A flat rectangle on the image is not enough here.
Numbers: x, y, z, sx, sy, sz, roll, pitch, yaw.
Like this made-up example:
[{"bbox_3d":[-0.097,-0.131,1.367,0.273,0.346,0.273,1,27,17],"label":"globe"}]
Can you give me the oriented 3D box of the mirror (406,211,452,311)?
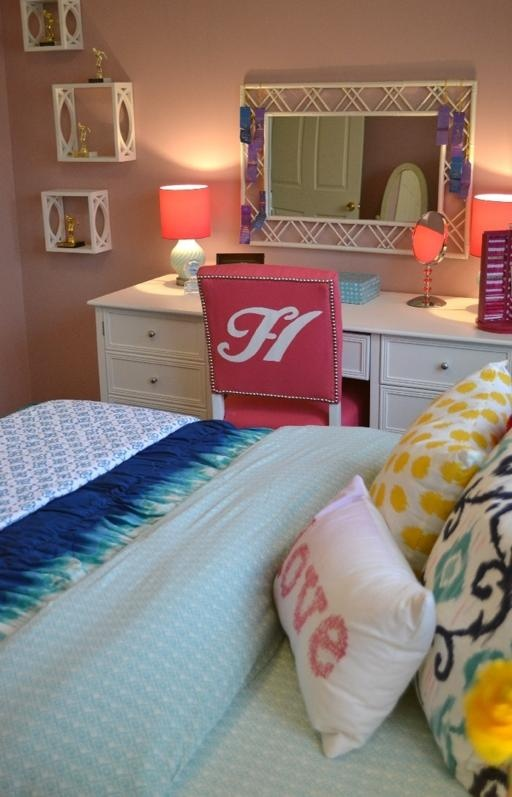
[{"bbox_3d":[0.766,-0.619,2.597,0.163,0.401,0.300,2,15,16],"label":"mirror"}]
